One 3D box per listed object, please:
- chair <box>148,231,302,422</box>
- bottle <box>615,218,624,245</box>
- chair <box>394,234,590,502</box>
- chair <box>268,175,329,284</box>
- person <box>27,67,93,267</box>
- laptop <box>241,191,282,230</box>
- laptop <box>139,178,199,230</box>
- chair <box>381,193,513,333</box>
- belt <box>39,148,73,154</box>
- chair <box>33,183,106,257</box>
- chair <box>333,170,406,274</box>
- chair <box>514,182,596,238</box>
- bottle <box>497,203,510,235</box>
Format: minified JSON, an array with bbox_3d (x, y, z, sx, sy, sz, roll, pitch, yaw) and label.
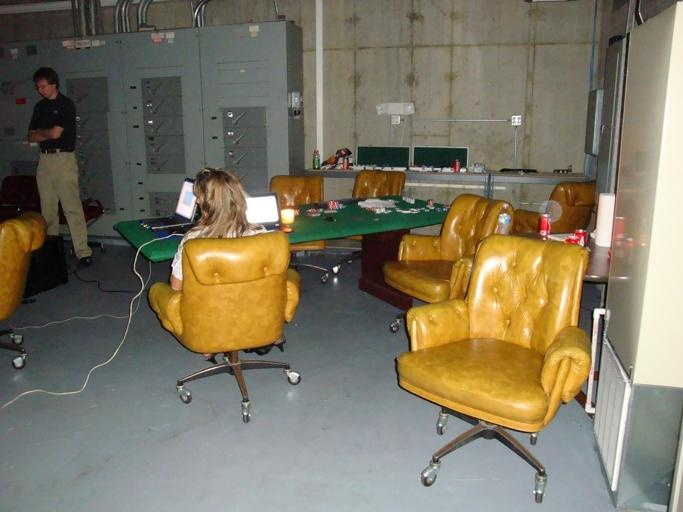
[{"bbox_3d":[-0.664,0.302,3.537,0.885,1.234,0.972,18,27,33],"label":"chair"},{"bbox_3d":[1.456,-0.143,2.818,0.024,0.137,0.181,3,15,19],"label":"bottle"},{"bbox_3d":[0.858,0.572,2.915,1.045,1.194,1.011,-5,15,-19],"label":"chair"},{"bbox_3d":[-0.453,-0.277,5.568,0.643,1.076,0.700,1,12,4],"label":"chair"},{"bbox_3d":[-3.151,-0.980,5.996,0.574,2.136,0.395,3,15,17],"label":"person"},{"bbox_3d":[-0.611,-0.410,4.428,0.326,0.298,0.268,0,28,21],"label":"laptop"},{"bbox_3d":[-1.385,-0.436,4.349,0.447,0.352,0.529,-5,13,-21],"label":"laptop"},{"bbox_3d":[0.842,0.071,4.281,0.897,1.020,0.928,10,20,30],"label":"chair"},{"bbox_3d":[-3.127,-1.149,5.871,0.325,0.044,0.109,-1,14,4],"label":"belt"},{"bbox_3d":[-3.254,-0.416,6.598,0.642,0.744,0.628,4,5,7],"label":"chair"},{"bbox_3d":[0.386,-0.452,5.961,0.751,0.864,0.754,-19,29,-27],"label":"chair"},{"bbox_3d":[2.188,-0.519,5.529,0.766,0.513,0.370,4,16,23],"label":"chair"},{"bbox_3d":[1.205,-0.275,3.986,0.106,0.210,0.293,2,15,17],"label":"bottle"}]
